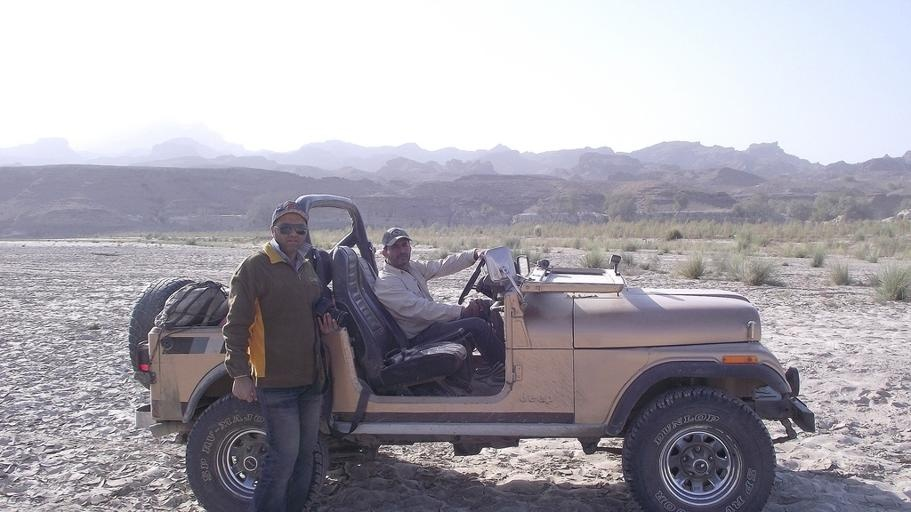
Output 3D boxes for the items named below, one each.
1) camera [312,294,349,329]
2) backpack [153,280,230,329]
[{"bbox_3d":[-1.531,0.690,7.434,0.308,0.403,0.172,-47,14,-26],"label":"camera"},{"bbox_3d":[-3.280,0.645,7.644,0.826,0.572,0.291,-1,-34,6],"label":"backpack"}]
